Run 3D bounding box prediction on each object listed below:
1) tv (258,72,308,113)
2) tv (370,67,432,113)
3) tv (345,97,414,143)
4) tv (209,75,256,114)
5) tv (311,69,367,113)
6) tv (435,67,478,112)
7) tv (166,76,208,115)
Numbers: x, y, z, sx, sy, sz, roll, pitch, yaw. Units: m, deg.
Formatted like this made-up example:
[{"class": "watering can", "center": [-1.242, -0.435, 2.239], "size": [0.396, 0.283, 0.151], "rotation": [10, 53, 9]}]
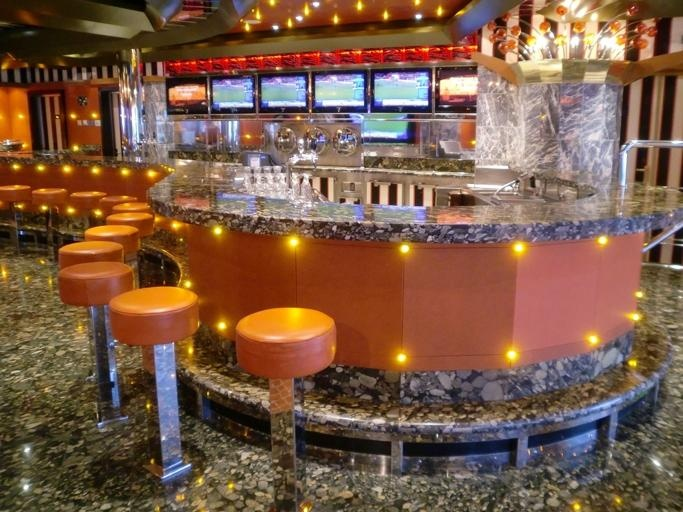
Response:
[{"class": "tv", "center": [-1.019, -2.856, 9.393], "size": [1.250, 0.652, 0.090], "rotation": [12, 22, 34]}, {"class": "tv", "center": [0.959, -2.600, 8.303], "size": [1.021, 0.568, 0.098], "rotation": [6, 16, 24]}, {"class": "tv", "center": [0.545, -1.659, 6.392], "size": [0.858, 0.332, 0.391], "rotation": [5, 20, 15]}, {"class": "tv", "center": [-1.974, -2.974, 9.820], "size": [1.136, 0.647, 0.081], "rotation": [10, 19, 29]}, {"class": "tv", "center": [-0.069, -2.721, 8.836], "size": [1.196, 0.628, 0.089], "rotation": [-15, 26, -38]}, {"class": "tv", "center": [1.696, -2.478, 7.965], "size": [0.821, 0.651, 0.063], "rotation": [-13, 22, -25]}, {"class": "tv", "center": [-3.039, -3.069, 10.278], "size": [0.138, 0.672, 1.069], "rotation": [22, 28, 26]}]
